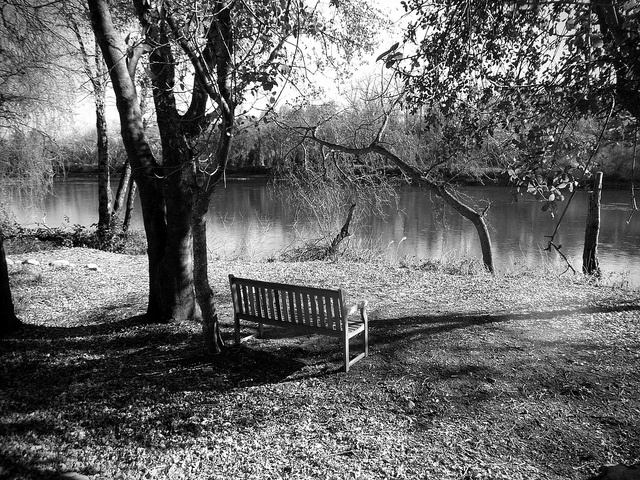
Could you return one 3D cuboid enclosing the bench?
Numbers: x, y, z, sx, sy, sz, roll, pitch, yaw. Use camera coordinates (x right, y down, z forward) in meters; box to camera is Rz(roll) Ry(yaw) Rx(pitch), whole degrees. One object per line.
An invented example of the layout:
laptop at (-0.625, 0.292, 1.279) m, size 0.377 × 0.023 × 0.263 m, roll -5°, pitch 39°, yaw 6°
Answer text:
bench at (-0.289, 1.032, 7.387) m, size 1.773 × 1.115 × 0.645 m, roll 1°, pitch 2°, yaw 25°
